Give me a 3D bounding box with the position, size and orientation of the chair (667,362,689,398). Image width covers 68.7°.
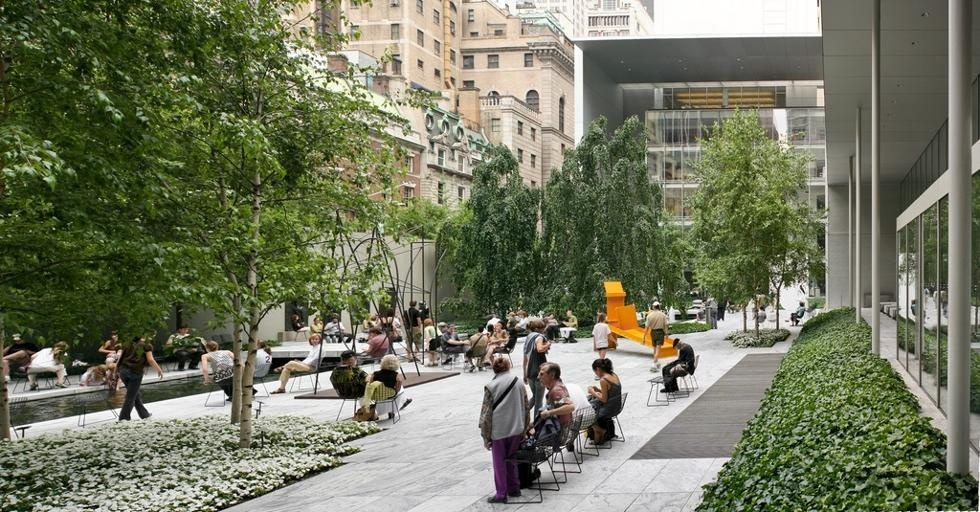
[{"bbox_3d":[5.564,3.635,21.527,0.883,1.003,0.851,2,-2,19],"label":"chair"}]

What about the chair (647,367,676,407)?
[{"bbox_3d":[5.062,4.039,22.112,0.543,0.884,1.610,-17,-11,7],"label":"chair"}]

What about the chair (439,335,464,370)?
[{"bbox_3d":[-1.513,3.852,29.014,1.149,1.528,1.280,-2,-3,13],"label":"chair"}]

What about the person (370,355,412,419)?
[{"bbox_3d":[-2.874,3.683,20.608,0.884,1.825,1.598,2,7,9],"label":"person"}]

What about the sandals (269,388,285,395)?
[{"bbox_3d":[-7.013,4.470,23.733,0.523,0.204,0.195,2,-5,11],"label":"sandals"}]

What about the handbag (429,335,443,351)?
[{"bbox_3d":[-2.232,3.507,28.852,0.619,0.615,0.369,3,0,-28],"label":"handbag"}]

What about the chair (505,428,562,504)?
[{"bbox_3d":[0.833,4.469,15.792,1.170,1.544,1.608,-2,-7,19],"label":"chair"}]

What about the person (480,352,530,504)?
[{"bbox_3d":[0.315,3.610,15.125,1.006,2.992,0.471,-4,-4,-4],"label":"person"}]

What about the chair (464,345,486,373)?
[{"bbox_3d":[-0.584,3.989,27.777,0.891,1.163,0.975,1,-4,4],"label":"chair"}]

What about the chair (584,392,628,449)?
[{"bbox_3d":[2.863,4.160,17.875,1.128,1.618,1.364,0,-5,8],"label":"chair"}]

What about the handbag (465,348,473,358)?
[{"bbox_3d":[-0.834,3.696,27.446,0.313,0.405,0.424,1,-6,14],"label":"handbag"}]

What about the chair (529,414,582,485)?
[{"bbox_3d":[1.293,4.126,16.008,1.316,1.868,1.704,-2,-8,14],"label":"chair"}]

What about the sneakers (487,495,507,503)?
[{"bbox_3d":[0.147,5.042,14.930,0.367,0.156,0.162,-1,-9,15],"label":"sneakers"}]

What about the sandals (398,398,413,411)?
[{"bbox_3d":[-2.492,4.344,21.011,0.488,0.186,0.164,-39,-4,-32],"label":"sandals"}]

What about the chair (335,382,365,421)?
[{"bbox_3d":[-3.822,4.244,20.604,0.889,1.339,0.970,1,-18,-4],"label":"chair"}]

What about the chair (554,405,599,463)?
[{"bbox_3d":[1.852,4.018,16.460,1.160,1.665,1.383,0,-3,12],"label":"chair"}]

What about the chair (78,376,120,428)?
[{"bbox_3d":[-11.931,4.627,21.879,1.106,0.513,2.347,4,16,-15],"label":"chair"}]

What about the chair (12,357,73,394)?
[{"bbox_3d":[-15.713,4.160,25.285,1.324,1.403,1.244,7,-18,-34],"label":"chair"}]

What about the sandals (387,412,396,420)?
[{"bbox_3d":[-2.775,4.496,20.173,0.106,0.219,0.316,1,-12,-4],"label":"sandals"}]

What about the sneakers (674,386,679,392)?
[{"bbox_3d":[5.629,4.020,21.722,0.127,0.127,0.233,-3,-7,9],"label":"sneakers"}]

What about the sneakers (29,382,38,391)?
[{"bbox_3d":[-15.837,4.563,24.891,0.441,0.160,0.166,-3,-4,30],"label":"sneakers"}]
